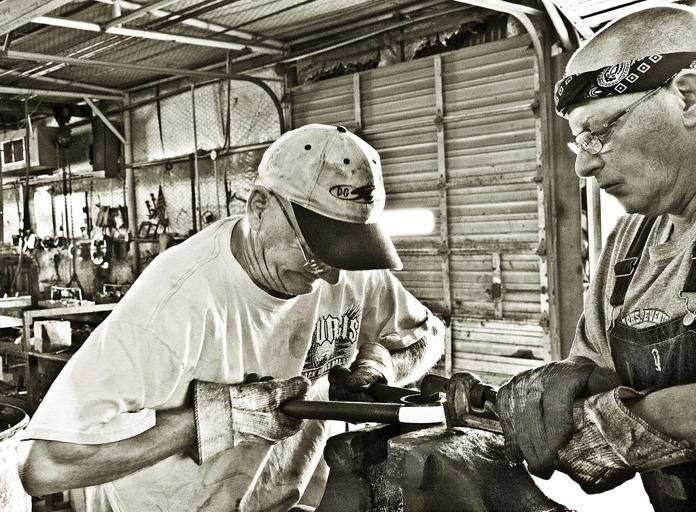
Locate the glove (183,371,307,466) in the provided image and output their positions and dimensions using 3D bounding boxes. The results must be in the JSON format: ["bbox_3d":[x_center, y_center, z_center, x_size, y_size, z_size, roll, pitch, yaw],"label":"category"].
[{"bbox_3d":[-0.528,0.814,4.446,0.785,0.394,0.523,-3,17,-33],"label":"glove"}]

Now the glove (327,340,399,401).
[{"bbox_3d":[0.072,0.644,4.618,0.255,0.204,0.496,8,2,1],"label":"glove"}]

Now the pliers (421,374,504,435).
[{"bbox_3d":[0.567,0.722,4.128,0.174,0.217,0.427,3,-3,-40],"label":"pliers"}]
